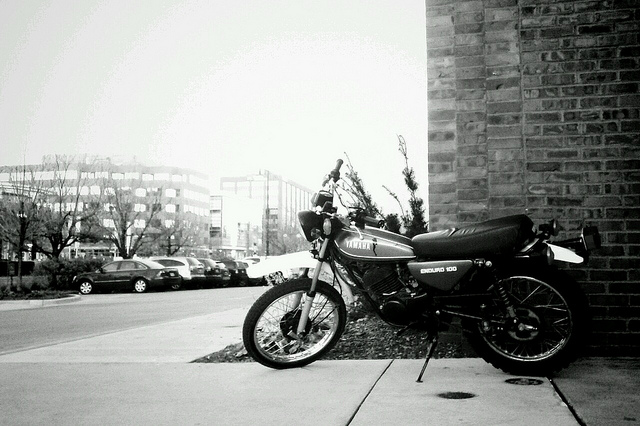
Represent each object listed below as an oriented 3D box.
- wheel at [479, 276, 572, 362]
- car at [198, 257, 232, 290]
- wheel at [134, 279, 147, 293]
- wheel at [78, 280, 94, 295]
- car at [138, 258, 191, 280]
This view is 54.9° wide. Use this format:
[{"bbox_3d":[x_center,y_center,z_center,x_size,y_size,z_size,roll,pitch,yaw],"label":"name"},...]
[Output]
[{"bbox_3d":[2.380,1.163,6.937,0.910,1.069,0.946,-7,11,1],"label":"wheel"},{"bbox_3d":[-5.399,2.984,30.642,1.821,0.828,1.040,1,-1,19],"label":"car"},{"bbox_3d":[-7.512,3.028,25.846,0.424,0.439,0.155,-21,-3,3],"label":"wheel"},{"bbox_3d":[-9.598,3.056,25.362,0.496,0.520,0.181,-5,-2,5],"label":"wheel"},{"bbox_3d":[-6.912,2.582,28.134,1.890,0.667,0.895,3,-7,2],"label":"car"}]
